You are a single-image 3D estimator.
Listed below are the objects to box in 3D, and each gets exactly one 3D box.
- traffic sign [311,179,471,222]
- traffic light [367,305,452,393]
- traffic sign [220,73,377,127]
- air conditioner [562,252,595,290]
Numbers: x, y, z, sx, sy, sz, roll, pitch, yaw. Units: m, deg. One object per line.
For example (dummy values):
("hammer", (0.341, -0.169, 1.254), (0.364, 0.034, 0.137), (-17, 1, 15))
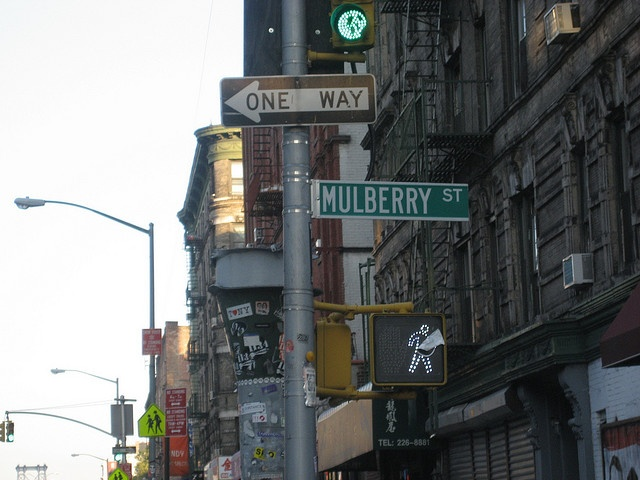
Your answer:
("traffic sign", (1.203, -0.808, 30.784), (1.493, 0.865, 1.937), (4, -13, -22))
("traffic light", (1.440, 1.808, 29.646), (1.240, 1.142, 0.486), (-2, -24, -3))
("traffic sign", (-0.367, -2.331, 29.807), (2.444, 1.092, 0.191), (-2, 0, 3))
("air conditioner", (4.979, 0.597, 35.027), (0.431, 0.600, 0.616), (1, -9, -21))
